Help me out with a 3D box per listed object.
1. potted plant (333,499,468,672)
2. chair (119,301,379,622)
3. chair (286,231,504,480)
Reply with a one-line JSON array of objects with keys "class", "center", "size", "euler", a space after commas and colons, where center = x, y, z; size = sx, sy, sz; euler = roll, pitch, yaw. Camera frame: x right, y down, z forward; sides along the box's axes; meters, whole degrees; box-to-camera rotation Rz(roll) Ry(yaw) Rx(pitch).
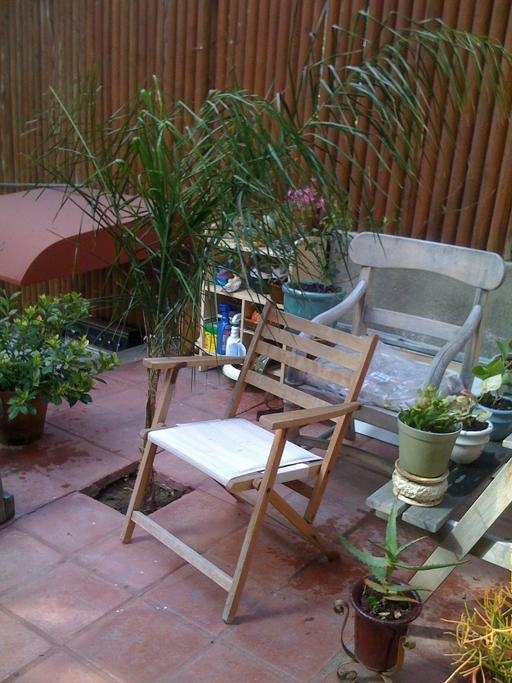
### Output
[{"class": "potted plant", "center": [0.456, 0.769, 1.768], "size": [0.336, 0.462, 0.340], "euler": [24, 38, 29]}, {"class": "chair", "center": [-0.031, 0.382, 2.175], "size": [0.708, 0.894, 0.714], "euler": [-9, 21, -38]}, {"class": "chair", "center": [0.628, 0.062, 2.566], "size": [0.870, 1.100, 0.783], "euler": [28, 50, 34]}]
